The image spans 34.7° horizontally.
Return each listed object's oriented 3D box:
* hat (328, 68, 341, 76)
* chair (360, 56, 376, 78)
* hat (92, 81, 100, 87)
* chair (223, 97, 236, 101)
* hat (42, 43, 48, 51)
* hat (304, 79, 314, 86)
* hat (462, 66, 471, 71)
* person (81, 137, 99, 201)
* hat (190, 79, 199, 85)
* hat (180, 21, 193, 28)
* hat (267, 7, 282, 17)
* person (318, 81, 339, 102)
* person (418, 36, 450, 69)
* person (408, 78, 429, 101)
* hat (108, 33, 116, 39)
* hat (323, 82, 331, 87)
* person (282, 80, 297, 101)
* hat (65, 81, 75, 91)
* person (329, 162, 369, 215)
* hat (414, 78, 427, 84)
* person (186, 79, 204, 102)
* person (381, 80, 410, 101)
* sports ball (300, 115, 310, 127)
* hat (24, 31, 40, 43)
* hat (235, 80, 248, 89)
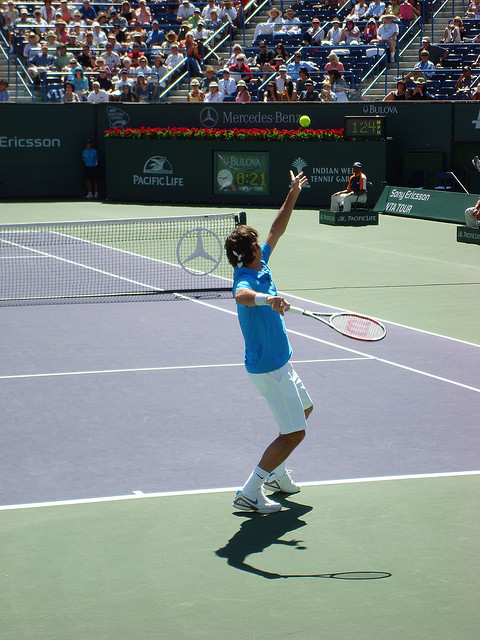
[{"bbox_3d":[2.867,-7.489,23.011,0.342,0.283,0.556,2,10,5],"label":"hat"},{"bbox_3d":[3.961,-7.863,23.717,0.479,0.663,0.237,3,12,10],"label":"chair"},{"bbox_3d":[-4.676,-7.770,25.062,0.251,0.159,0.230,-9,19,-26],"label":"hat"},{"bbox_3d":[-0.341,-7.069,24.394,0.282,0.101,0.185,0,-10,3],"label":"chair"},{"bbox_3d":[-6.690,-9.360,26.143,0.244,0.137,0.296,3,30,-1],"label":"hat"},{"bbox_3d":[2.106,-7.162,23.050,0.221,0.202,0.302,-2,10,-13],"label":"hat"},{"bbox_3d":[6.342,-7.033,21.336,0.169,0.157,0.422,5,10,21],"label":"hat"},{"bbox_3d":[-4.964,-5.040,25.382,0.576,2.029,0.846,-2,12,-11],"label":"person"},{"bbox_3d":[-1.458,-7.765,24.821,0.368,0.162,0.464,0,8,4],"label":"hat"},{"bbox_3d":[-1.847,-10.565,27.231,0.463,0.232,0.314,-9,15,-8],"label":"hat"},{"bbox_3d":[1.210,-10.948,27.075,0.721,0.152,0.625,3,31,6],"label":"hat"},{"bbox_3d":[2.651,-6.832,22.753,0.525,0.638,0.707,7,12,29],"label":"person"},{"bbox_3d":[5.841,-8.024,22.929,0.887,0.888,0.566,2,11,5],"label":"person"},{"bbox_3d":[5.124,-6.635,21.894,0.572,0.679,0.721,2,11,7],"label":"person"},{"bbox_3d":[-4.732,-10.507,28.245,0.205,0.223,0.569,-7,35,-4],"label":"hat"},{"bbox_3d":[2.613,-7.071,22.940,0.223,0.180,0.390,1,10,5],"label":"hat"},{"bbox_3d":[1.514,-6.964,23.174,0.433,0.631,0.374,1,12,3],"label":"person"},{"bbox_3d":[-5.679,-7.802,25.448,0.294,0.307,0.354,0,11,-4],"label":"hat"},{"bbox_3d":[2.793,-3.361,19.484,0.907,1.209,0.776,2,12,6],"label":"person"},{"bbox_3d":[5.196,-6.878,21.961,0.277,0.055,0.239,-2,29,-6],"label":"hat"},{"bbox_3d":[-1.442,-7.442,24.806,0.509,0.840,1.365,-1,10,-6],"label":"person"},{"bbox_3d":[4.599,-6.632,22.164,0.551,0.516,0.885,-1,10,-8],"label":"person"},{"bbox_3d":[1.875,-5.736,22.068,0.274,0.278,0.262,1,11,0],"label":"sports ball"},{"bbox_3d":[-7.394,-10.035,27.029,0.641,0.551,0.137,-1,55,-5],"label":"hat"},{"bbox_3d":[0.056,-7.424,23.837,0.441,0.185,0.407,0,-2,-3],"label":"hat"}]
